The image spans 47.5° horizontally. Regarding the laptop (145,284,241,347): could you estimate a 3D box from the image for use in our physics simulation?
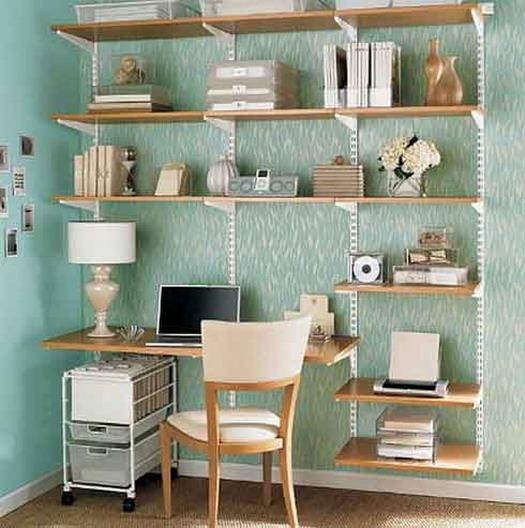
[{"bbox_3d":[-0.316,0.236,2.789,0.395,0.290,0.319,1,-2,1],"label":"laptop"}]

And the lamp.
[{"bbox_3d":[-0.801,0.057,2.965,0.316,0.587,0.322,0,2,-18],"label":"lamp"}]

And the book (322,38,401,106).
[{"bbox_3d":[0.437,-0.815,2.646,0.344,0.284,0.242,1,5,11],"label":"book"}]

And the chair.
[{"bbox_3d":[-0.117,0.663,2.513,0.490,0.941,0.560,-3,6,-29],"label":"chair"}]

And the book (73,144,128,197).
[{"bbox_3d":[-0.816,-0.457,3.121,0.219,0.324,0.310,1,0,14],"label":"book"}]
